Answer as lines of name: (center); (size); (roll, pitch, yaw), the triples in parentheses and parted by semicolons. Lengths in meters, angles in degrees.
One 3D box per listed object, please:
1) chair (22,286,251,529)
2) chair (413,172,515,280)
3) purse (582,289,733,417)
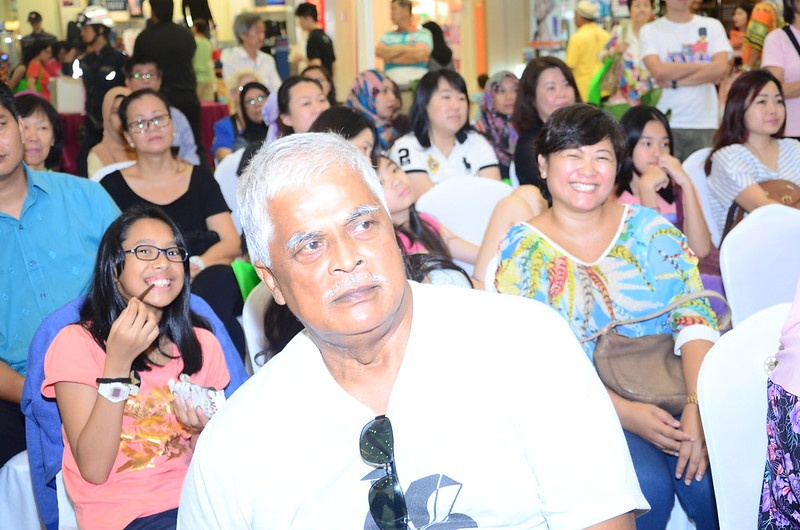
chair: (-1.088, 0.607, 2.783); (0.984, 1.065, 0.537); (-6, 0, -34)
chair: (0.377, -0.287, 4.839); (0.622, 0.907, 0.625); (-5, 13, -10)
purse: (1.056, 0.443, 3.047); (0.582, 0.587, 0.259); (-4, -15, 2)
